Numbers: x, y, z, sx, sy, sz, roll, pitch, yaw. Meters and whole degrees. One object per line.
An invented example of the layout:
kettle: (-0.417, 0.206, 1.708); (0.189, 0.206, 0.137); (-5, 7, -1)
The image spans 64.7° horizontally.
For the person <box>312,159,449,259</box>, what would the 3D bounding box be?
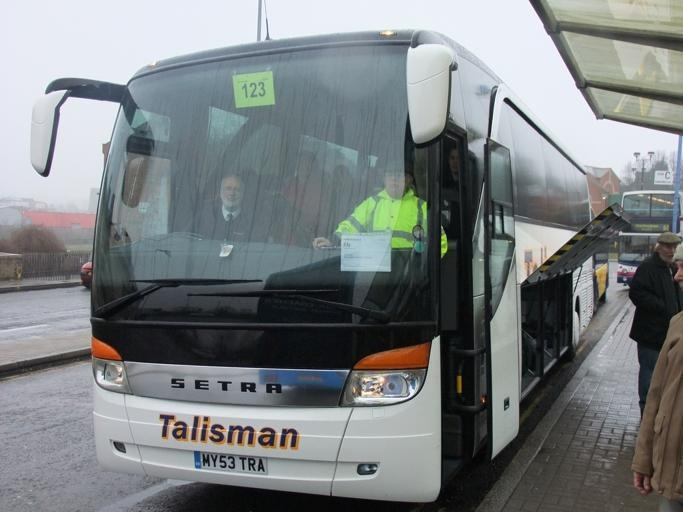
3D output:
person: (0.274, -0.157, 4.100); (0.891, 0.908, 0.566); (3, -4, 13)

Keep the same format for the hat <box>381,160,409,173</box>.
hat: (0.408, -0.661, 3.989); (0.103, 0.078, 0.116); (1, -4, -3)
